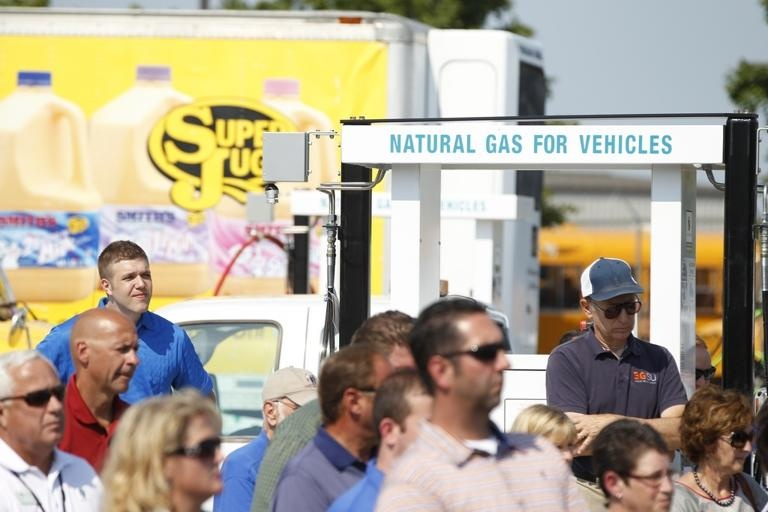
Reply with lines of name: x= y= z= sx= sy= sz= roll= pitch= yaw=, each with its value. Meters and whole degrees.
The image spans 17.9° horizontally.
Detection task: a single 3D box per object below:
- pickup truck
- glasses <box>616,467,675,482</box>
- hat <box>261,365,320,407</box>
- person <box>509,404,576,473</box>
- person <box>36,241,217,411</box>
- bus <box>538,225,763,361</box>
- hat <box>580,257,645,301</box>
pickup truck: x=-0.400 y=1.089 z=24.236 sx=2.900 sy=1.267 sz=1.621 roll=1 pitch=-2 yaw=7
glasses: x=2.341 y=1.941 z=21.783 sx=0.439 sy=0.102 sz=0.086 roll=1 pitch=-3 yaw=-11
hat: x=-0.819 y=1.196 z=22.747 sx=0.559 sy=0.265 sz=0.390 roll=12 pitch=8 yaw=-2
person: x=1.484 y=1.778 z=22.770 sx=0.595 sy=0.712 sz=0.703 roll=4 pitch=-15 yaw=6
person: x=-2.511 y=0.778 z=23.717 sx=1.444 sy=1.781 sz=0.594 roll=4 pitch=-21 yaw=-30
bus: x=3.057 y=0.538 z=27.911 sx=2.069 sy=1.387 sz=1.239 roll=0 pitch=-3 yaw=17
hat: x=2.139 y=0.287 z=23.156 sx=0.557 sy=0.355 sz=0.716 roll=-13 pitch=8 yaw=-9
